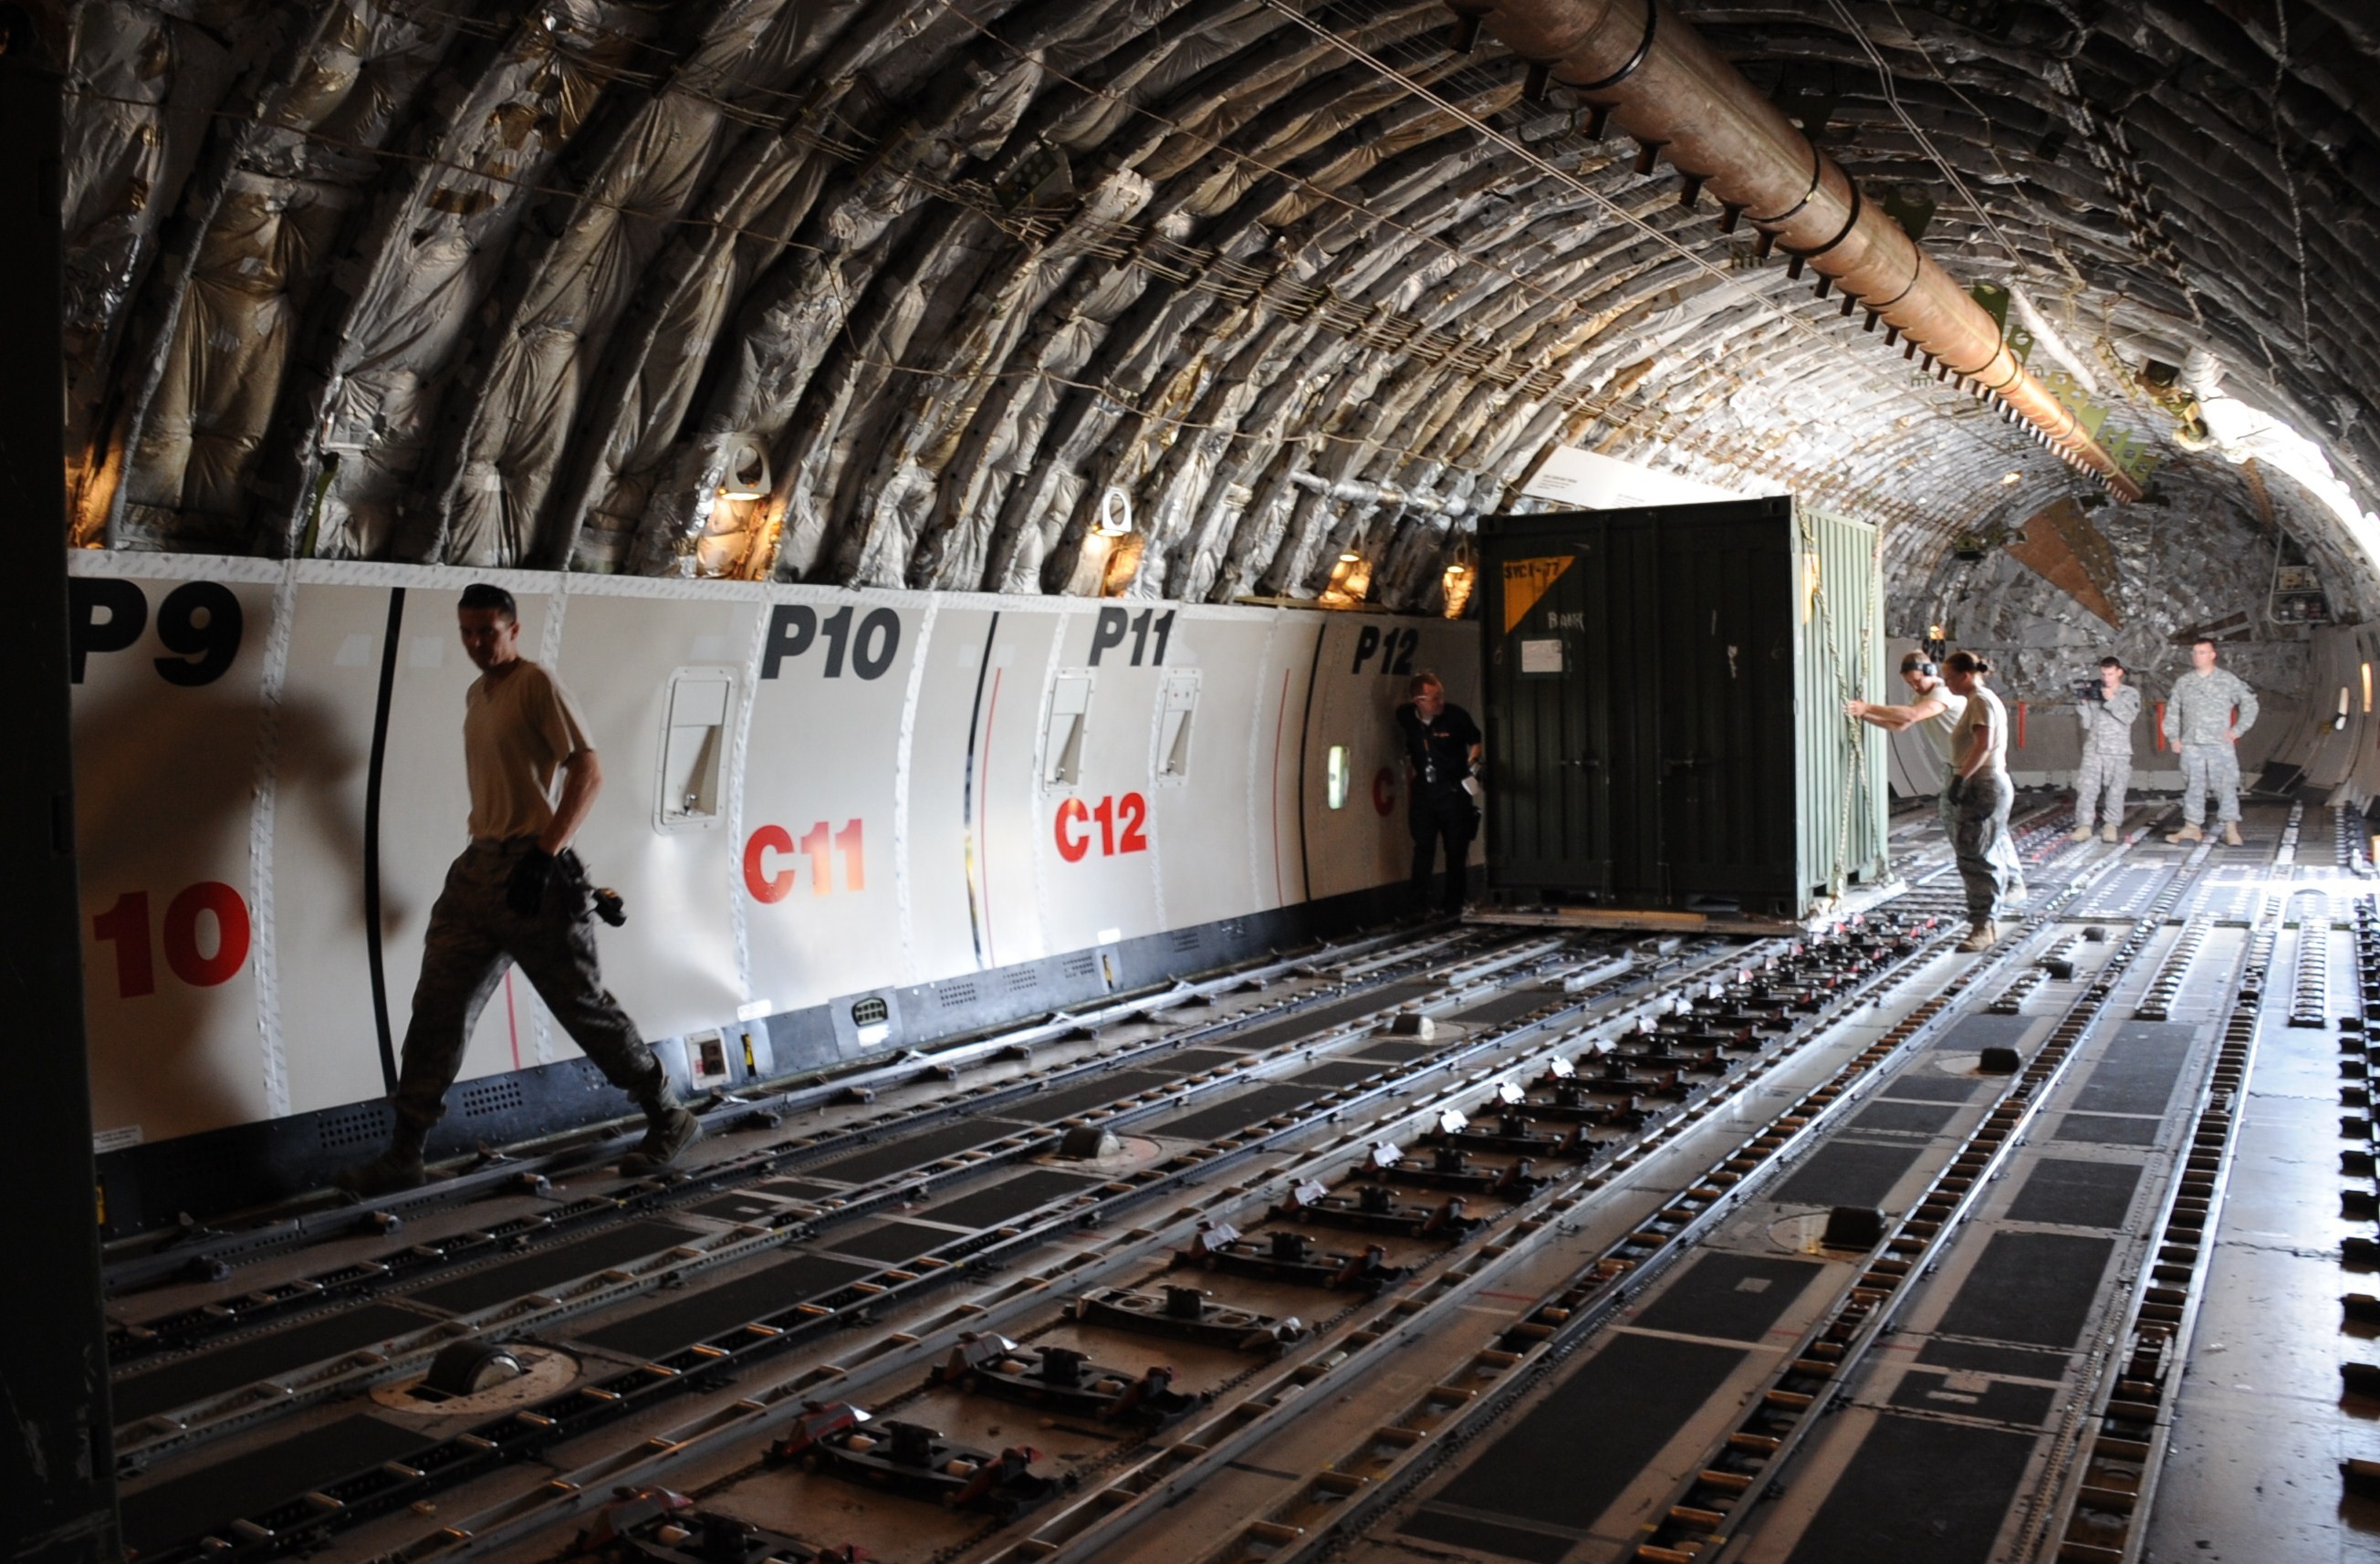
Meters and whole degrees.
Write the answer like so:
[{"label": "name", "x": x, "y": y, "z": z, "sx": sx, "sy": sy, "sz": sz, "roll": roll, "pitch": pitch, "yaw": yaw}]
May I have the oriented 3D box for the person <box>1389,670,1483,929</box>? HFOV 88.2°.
[{"label": "person", "x": 3.022, "y": -0.017, "z": 14.844, "sx": 0.804, "sy": 2.904, "sz": 1.209, "roll": 1, "pitch": 2, "yaw": 35}]
